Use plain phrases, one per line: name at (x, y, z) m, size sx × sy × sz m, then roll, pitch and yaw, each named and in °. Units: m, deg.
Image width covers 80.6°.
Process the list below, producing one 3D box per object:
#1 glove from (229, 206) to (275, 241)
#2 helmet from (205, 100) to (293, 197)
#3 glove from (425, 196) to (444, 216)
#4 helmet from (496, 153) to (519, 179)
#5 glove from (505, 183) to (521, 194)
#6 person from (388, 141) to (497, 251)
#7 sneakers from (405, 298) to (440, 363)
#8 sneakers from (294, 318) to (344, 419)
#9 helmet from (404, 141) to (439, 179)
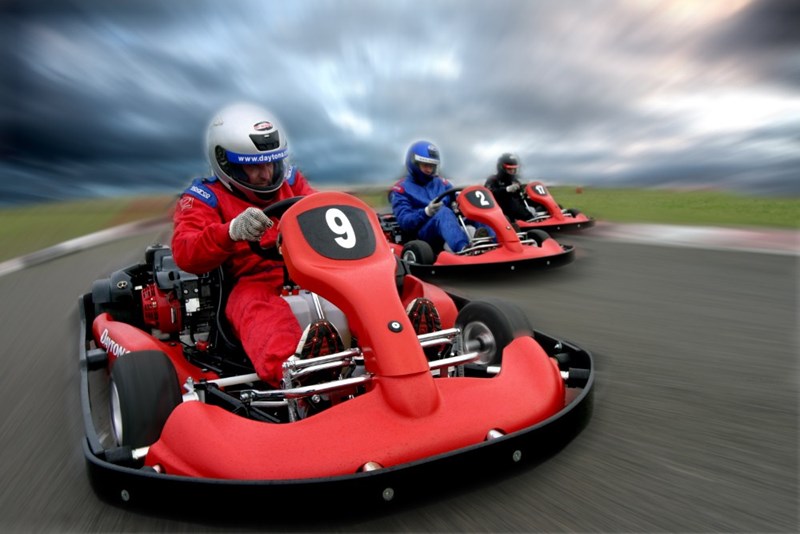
glove at (-0.790, -0.228, 2.449) m, size 0.186 × 0.096 × 0.233 m, roll -41°, pitch 43°, yaw -16°
helmet at (-0.933, -0.718, 2.908) m, size 0.451 × 0.465 × 0.590 m, roll -19°, pitch 41°, yaw -40°
glove at (0.391, -0.747, 5.834) m, size 0.204 × 0.162 × 0.210 m, roll -43°, pitch 23°, yaw -5°
helmet at (1.915, -1.784, 8.311) m, size 0.364 × 0.422 × 0.311 m, roll -10°, pitch 8°, yaw 7°
glove at (1.996, -1.407, 8.316) m, size 0.340 × 0.158 × 0.192 m, roll -18°, pitch 10°, yaw -42°
person at (0.611, -0.923, 6.048) m, size 0.880 × 1.264 × 1.711 m, roll -13°, pitch 21°, yaw -30°
sneakers at (0.125, 0.331, 2.527) m, size 0.168 × 0.317 × 0.114 m, roll -2°, pitch -1°, yaw -17°
sneakers at (-0.397, 0.448, 2.294) m, size 0.168 × 0.490 × 0.194 m, roll -2°, pitch -13°, yaw -24°
helmet at (0.325, -1.496, 6.569) m, size 0.426 × 0.556 × 0.556 m, roll 2°, pitch 22°, yaw -22°
